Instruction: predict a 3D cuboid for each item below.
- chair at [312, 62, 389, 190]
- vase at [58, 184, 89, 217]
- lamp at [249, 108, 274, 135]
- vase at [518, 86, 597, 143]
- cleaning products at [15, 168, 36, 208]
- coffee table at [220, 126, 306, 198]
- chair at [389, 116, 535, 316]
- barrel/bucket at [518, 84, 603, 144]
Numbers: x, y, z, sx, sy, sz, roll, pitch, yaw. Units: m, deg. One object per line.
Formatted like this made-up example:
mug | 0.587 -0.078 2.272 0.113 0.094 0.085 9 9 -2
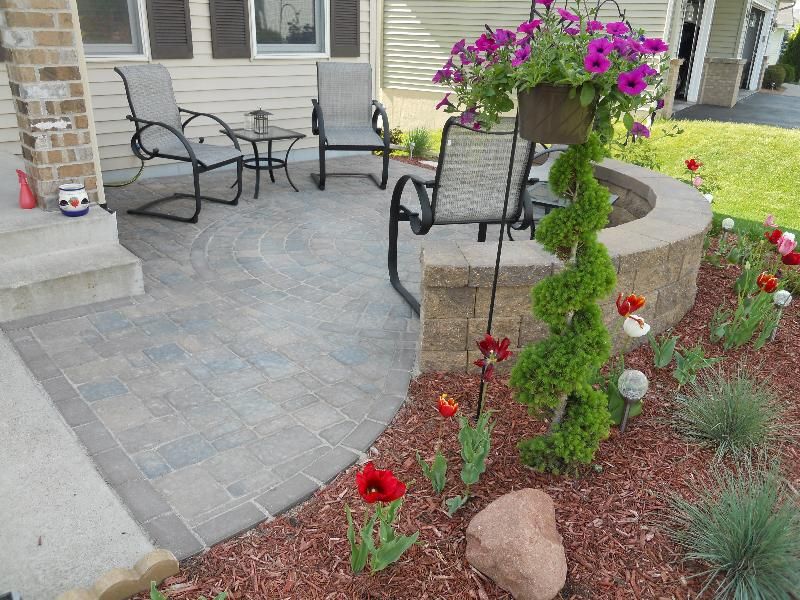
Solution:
chair | -0.679 -2.329 7.365 0.980 1.434 1.576 -3 27 -5
vase | -2.434 -0.761 4.245 0.261 0.224 0.243 -7 21 -28
lamp | -1.623 -2.079 6.572 0.181 0.244 0.298 8 27 16
vase | 0.601 -0.715 2.157 0.254 0.130 0.230 -2 20 -10
cleaning products | -2.925 -0.871 4.346 0.128 0.279 0.367 -19 31 -30
coffee table | -1.731 -1.743 7.062 0.853 0.640 0.988 8 12 30
chair | 0.435 -0.702 4.174 0.984 1.350 0.683 -10 29 -17
barrel/bucket | 0.625 -0.720 2.192 0.245 0.130 0.240 2 17 0
